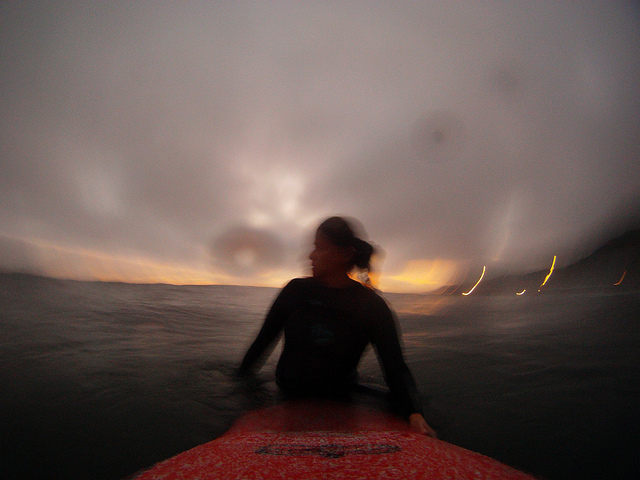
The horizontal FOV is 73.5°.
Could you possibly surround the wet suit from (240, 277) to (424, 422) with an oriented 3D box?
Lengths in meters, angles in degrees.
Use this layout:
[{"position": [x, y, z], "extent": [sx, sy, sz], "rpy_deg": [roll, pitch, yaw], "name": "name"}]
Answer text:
[{"position": [0.109, 0.893, 3.787], "extent": [1.586, 1.072, 0.339], "rpy_deg": [5, -14, 13], "name": "wet suit"}]
